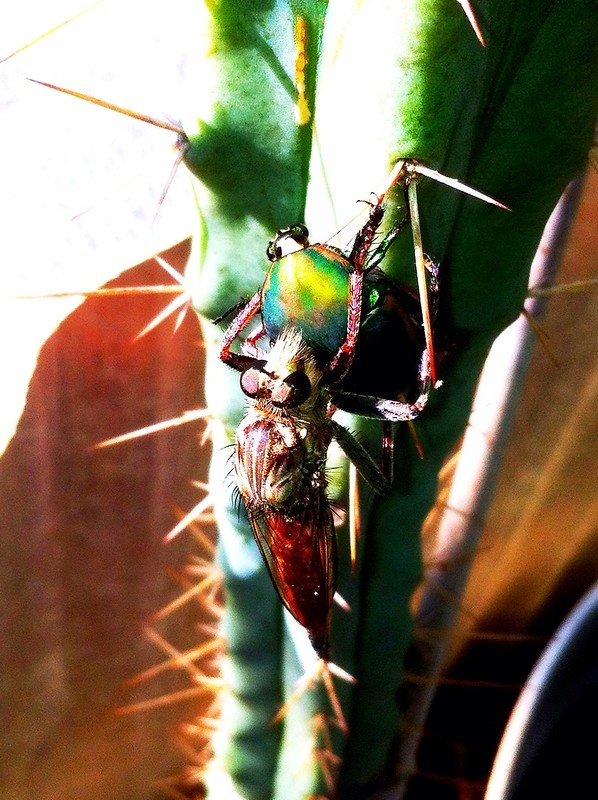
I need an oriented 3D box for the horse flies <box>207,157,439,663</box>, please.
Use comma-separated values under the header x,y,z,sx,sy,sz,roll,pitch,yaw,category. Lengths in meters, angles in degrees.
x,y,z,sx,sy,sz,roll,pitch,yaw,category
0.023,0.006,0.704,0.174,0.334,0.198,-5,33,3,horse flies
